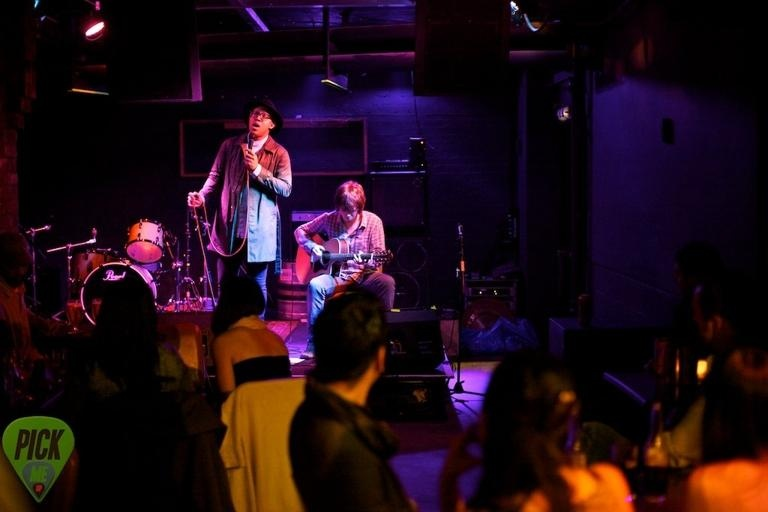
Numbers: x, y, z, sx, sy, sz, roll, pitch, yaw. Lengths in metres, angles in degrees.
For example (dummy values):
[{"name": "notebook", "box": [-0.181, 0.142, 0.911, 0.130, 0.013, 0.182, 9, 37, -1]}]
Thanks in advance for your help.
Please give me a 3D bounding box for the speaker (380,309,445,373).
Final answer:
[{"name": "speaker", "box": [0.273, 0.726, 5.655, 0.632, 0.615, 0.618, 3, -5, 5]}]
